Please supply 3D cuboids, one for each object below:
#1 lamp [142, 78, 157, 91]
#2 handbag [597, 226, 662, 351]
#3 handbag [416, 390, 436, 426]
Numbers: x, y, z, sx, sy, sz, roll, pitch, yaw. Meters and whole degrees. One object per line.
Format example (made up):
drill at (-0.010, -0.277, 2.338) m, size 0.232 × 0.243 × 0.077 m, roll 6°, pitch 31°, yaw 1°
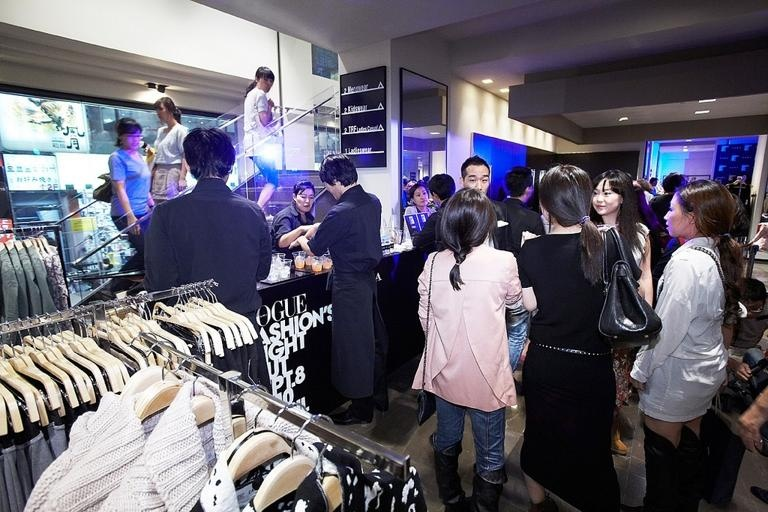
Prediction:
lamp at (-3.639, -2.662, 7.162) m, size 0.158 × 0.101 × 0.225 m, roll -5°, pitch 12°, yaw -27°
handbag at (1.451, 0.196, 2.697) m, size 0.328 × 0.680 × 0.307 m, roll 5°, pitch 12°, yaw 23°
handbag at (0.291, 1.021, 3.107) m, size 0.119 × 0.298 × 0.270 m, roll 1°, pitch 11°, yaw 6°
